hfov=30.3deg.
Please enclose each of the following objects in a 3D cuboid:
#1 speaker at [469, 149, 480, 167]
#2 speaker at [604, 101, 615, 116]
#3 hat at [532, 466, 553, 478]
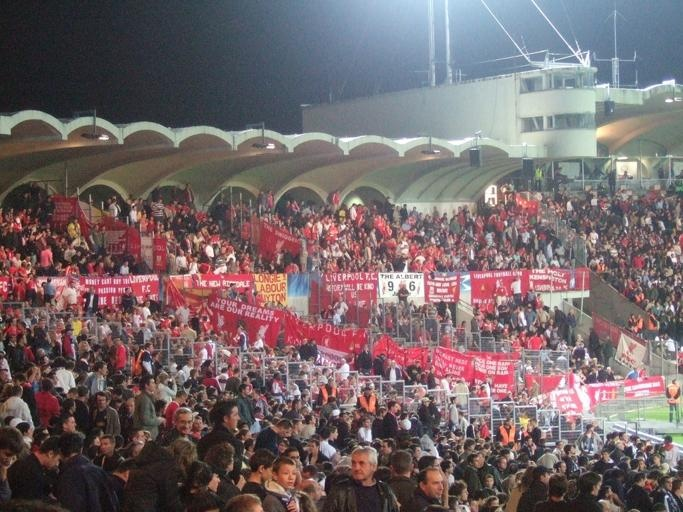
[{"bbox_3d":[6.372,-4.740,59.425,0.444,0.833,0.647,0,-5,-3],"label":"speaker"},{"bbox_3d":[14.749,-8.159,68.915,0.782,0.888,0.448,-2,-1,-13],"label":"speaker"},{"bbox_3d":[4.832,5.096,29.705,0.338,0.340,1.035,-2,-6,19],"label":"hat"}]
